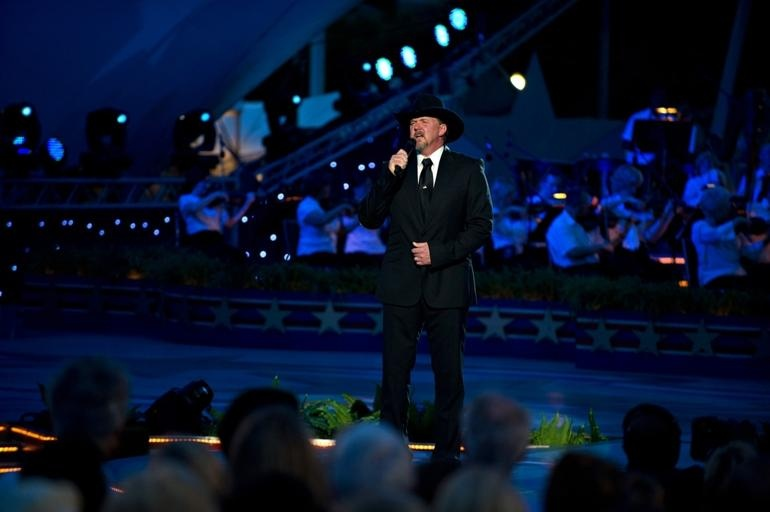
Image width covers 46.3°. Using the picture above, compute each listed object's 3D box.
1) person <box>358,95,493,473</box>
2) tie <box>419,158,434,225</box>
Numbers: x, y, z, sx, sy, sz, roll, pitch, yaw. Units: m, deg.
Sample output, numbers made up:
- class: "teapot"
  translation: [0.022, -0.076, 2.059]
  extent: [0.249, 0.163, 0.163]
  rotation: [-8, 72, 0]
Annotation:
- class: "person"
  translation: [0.335, 0.180, 7.686]
  extent: [0.978, 3.022, 0.624]
  rotation: [7, -11, -22]
- class: "tie"
  translation: [0.355, -0.560, 7.750]
  extent: [0.138, 0.569, 0.043]
  rotation: [2, 8, 22]
